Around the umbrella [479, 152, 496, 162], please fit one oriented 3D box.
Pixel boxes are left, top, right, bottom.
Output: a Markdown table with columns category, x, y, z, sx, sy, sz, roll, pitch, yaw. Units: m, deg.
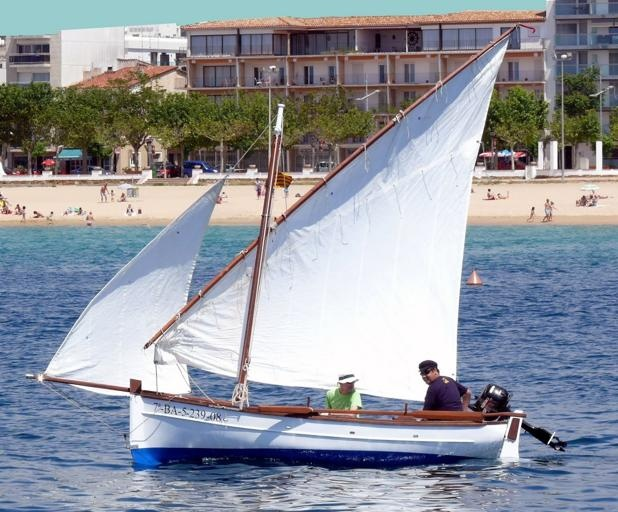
| category | x | y | z | sx | sy | sz | roll | pitch | yaw |
| --- | --- | --- | --- | --- | --- | --- | --- | --- | --- |
| umbrella | 14.540 | -8.135 | 139.700 | 1.175 | 0.479 | 1.139 | -1 | 2 | -4 |

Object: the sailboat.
| category | x | y | z | sx | sy | sz | roll | pitch | yaw |
| --- | --- | --- | --- | --- | --- | --- | --- | --- | --- |
| sailboat | -1.446 | 1.782 | 62.660 | 11.982 | 17.659 | 18.318 | -13 | 7 | 28 |
